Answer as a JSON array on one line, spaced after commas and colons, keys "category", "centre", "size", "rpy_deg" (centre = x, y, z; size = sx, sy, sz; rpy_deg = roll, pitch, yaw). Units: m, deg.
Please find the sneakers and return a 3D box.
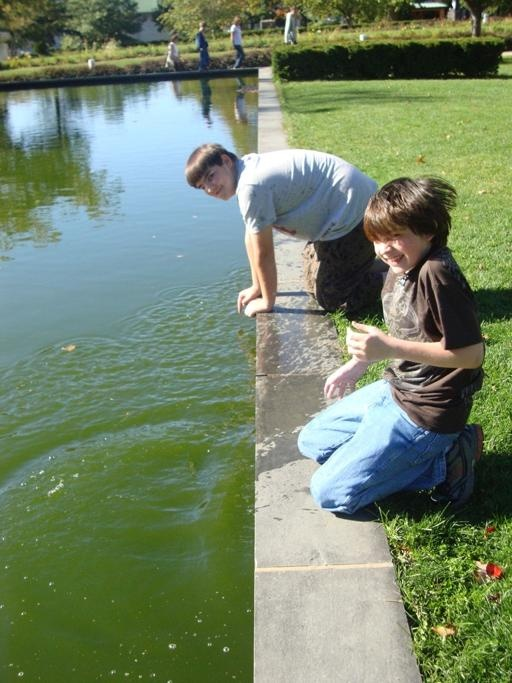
[{"category": "sneakers", "centre": [0.809, 0.475, 2.630], "size": [0.123, 0.337, 0.171], "rpy_deg": [21, 4, 41]}]
